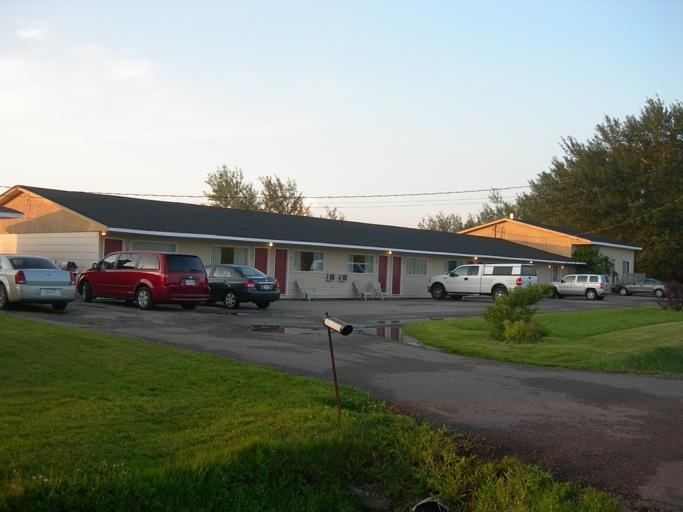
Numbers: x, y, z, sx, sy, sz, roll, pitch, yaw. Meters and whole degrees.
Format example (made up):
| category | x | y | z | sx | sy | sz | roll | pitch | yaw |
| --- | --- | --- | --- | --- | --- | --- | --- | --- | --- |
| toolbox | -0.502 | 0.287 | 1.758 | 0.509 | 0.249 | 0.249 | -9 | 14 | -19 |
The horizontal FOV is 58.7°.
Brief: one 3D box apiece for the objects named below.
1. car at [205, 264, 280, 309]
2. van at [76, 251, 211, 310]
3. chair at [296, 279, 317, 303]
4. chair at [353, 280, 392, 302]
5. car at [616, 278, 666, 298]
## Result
| category | x | y | z | sx | sy | sz | roll | pitch | yaw |
| --- | --- | --- | --- | --- | --- | --- | --- | --- | --- |
| car | -3.651 | 1.062 | 21.975 | 1.282 | 0.937 | 2.928 | 3 | 0 | -42 |
| van | -6.392 | 0.736 | 19.988 | 3.611 | 1.337 | 1.944 | 6 | 2 | 36 |
| chair | -1.840 | 1.659 | 30.032 | 0.962 | 1.254 | 0.913 | -2 | -1 | 37 |
| chair | 1.428 | 1.794 | 32.858 | 1.676 | 0.869 | 1.318 | 2 | 1 | -11 |
| car | 21.981 | 2.327 | 44.849 | 3.534 | 1.188 | 1.524 | 2 | -1 | 41 |
